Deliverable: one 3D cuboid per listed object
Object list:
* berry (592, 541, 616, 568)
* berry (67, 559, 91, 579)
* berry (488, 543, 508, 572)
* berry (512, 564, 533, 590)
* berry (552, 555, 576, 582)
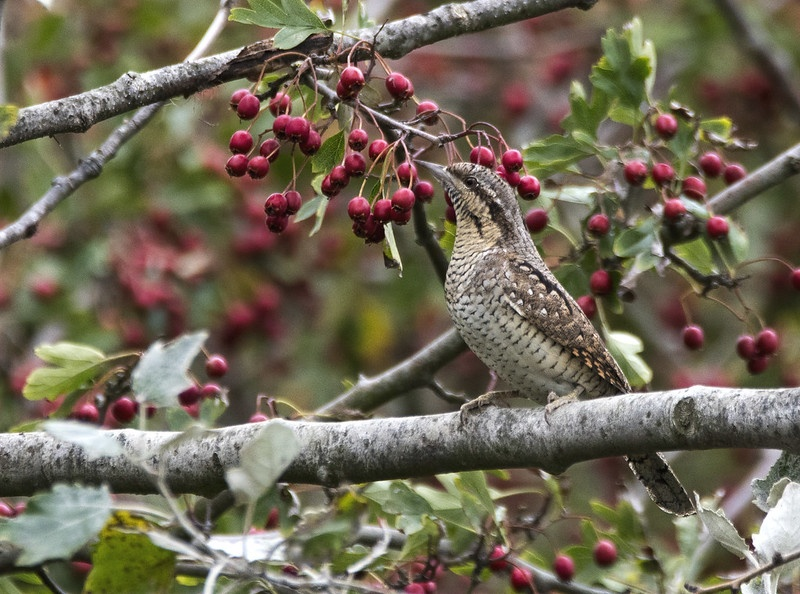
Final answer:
[{"bbox_3d":[0.796,1.001,4.523,0.087,0.114,0.094,1,1,4],"label":"berry"},{"bbox_3d":[-1.199,1.012,4.347,0.070,0.068,0.056,-1,63,15],"label":"berry"},{"bbox_3d":[0.370,0.999,4.401,0.097,0.133,0.104,0,2,3],"label":"berry"},{"bbox_3d":[0.464,1.086,4.465,0.090,0.124,0.098,-1,11,6],"label":"berry"},{"bbox_3d":[0.636,1.052,4.514,0.067,0.077,0.093,17,-4,-12],"label":"berry"}]
